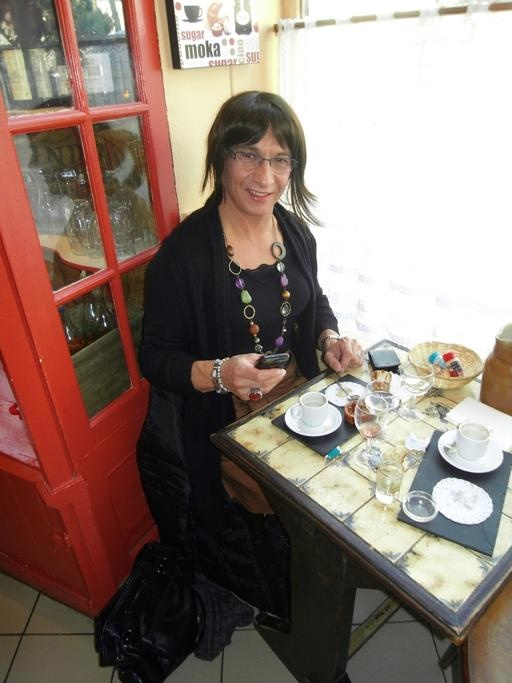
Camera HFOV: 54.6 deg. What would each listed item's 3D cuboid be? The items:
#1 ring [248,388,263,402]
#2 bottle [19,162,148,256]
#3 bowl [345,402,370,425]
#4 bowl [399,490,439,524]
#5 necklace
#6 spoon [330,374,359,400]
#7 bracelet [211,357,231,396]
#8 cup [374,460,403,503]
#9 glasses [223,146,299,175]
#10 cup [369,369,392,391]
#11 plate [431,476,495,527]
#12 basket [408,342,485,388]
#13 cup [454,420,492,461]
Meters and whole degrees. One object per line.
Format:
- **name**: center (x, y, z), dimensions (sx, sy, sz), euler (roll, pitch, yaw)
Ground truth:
- **ring**: center (-0.006, 0.152, 1.368), dimensions (0.042, 0.021, 0.042), euler (-2, 72, 7)
- **bottle**: center (-0.463, -0.323, 1.269), dimensions (0.060, 0.189, 0.195), euler (10, 31, 35)
- **bowl**: center (0.250, 0.174, 1.243), dimensions (0.051, 0.022, 0.049), euler (-1, 35, 0)
- **bowl**: center (0.320, 0.327, 0.975), dimensions (0.070, 0.013, 0.079), euler (-4, 27, 2)
- **necklace**: center (0.015, -0.149, 1.537), dimensions (0.208, 0.354, 0.062), euler (-6, 4, -30)
- **spoon**: center (0.248, 0.123, 1.368), dimensions (0.022, 0.016, 0.108), euler (-3, 24, -11)
- **bracelet**: center (-0.100, 0.098, 1.325), dimensions (0.028, 0.075, 0.066), euler (1, 18, 8)
- **cup**: center (0.279, 0.283, 1.054), dimensions (0.064, 0.097, 0.063), euler (-3, 29, 2)
- **glasses**: center (0.031, -0.513, 1.402), dimensions (0.194, 0.084, 0.078), euler (-21, 31, -29)
- **cup**: center (0.343, 0.106, 1.339), dimensions (0.053, 0.062, 0.060), euler (0, 32, -3)
- **plate**: center (0.410, 0.317, 0.989), dimensions (0.112, 0.011, 0.118), euler (18, 34, 37)
- **basket**: center (0.524, 0.064, 1.384), dimensions (0.160, 0.062, 0.155), euler (-6, 40, -12)
- **cup**: center (0.467, 0.214, 1.077), dimensions (0.061, 0.060, 0.081), euler (5, 40, 11)
